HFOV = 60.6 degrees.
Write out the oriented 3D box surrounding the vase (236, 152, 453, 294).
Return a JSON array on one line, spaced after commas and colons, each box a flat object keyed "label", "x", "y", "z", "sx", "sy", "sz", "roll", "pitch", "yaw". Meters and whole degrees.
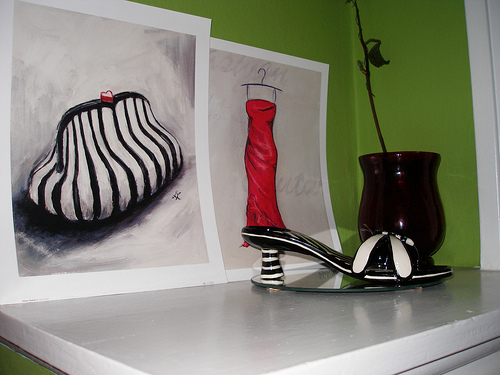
[{"label": "vase", "x": 0.251, "y": 0.090, "z": 1.109, "sx": 0.489, "sy": 0.351, "sz": 0.414, "roll": 1, "pitch": 6, "yaw": 27}]
